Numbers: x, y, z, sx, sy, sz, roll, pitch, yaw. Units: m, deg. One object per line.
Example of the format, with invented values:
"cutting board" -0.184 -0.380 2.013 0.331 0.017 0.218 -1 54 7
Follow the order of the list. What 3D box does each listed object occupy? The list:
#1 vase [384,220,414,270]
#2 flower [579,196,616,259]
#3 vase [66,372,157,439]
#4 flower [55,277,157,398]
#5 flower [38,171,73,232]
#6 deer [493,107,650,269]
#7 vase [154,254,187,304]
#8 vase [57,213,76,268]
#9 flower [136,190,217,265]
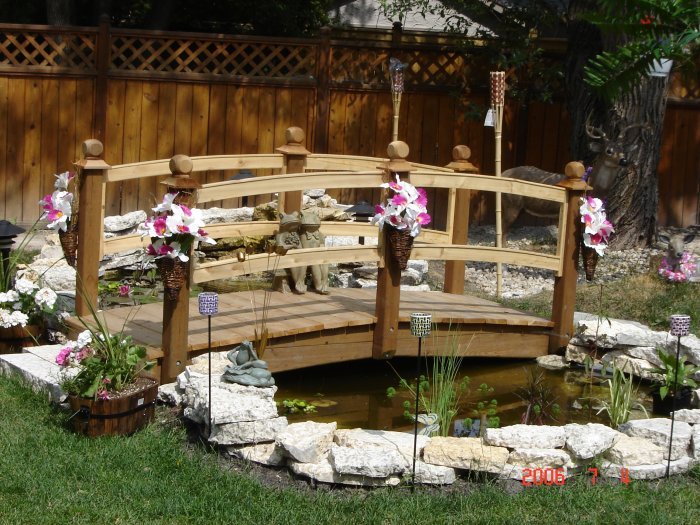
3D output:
"vase" 0.444 -0.122 6.901 0.266 0.382 0.313 -6 -8 5
"flower" 2.281 -0.341 7.456 0.297 0.541 0.250 4 6 17
"vase" -1.680 0.999 5.690 0.525 0.280 0.726 -3 8 -14
"flower" -1.648 0.662 5.565 0.401 0.595 0.541 -9 1 -11
"flower" -2.395 -0.503 6.557 0.235 0.486 0.395 0 7 -21
"deer" 3.237 -1.551 11.348 2.364 2.686 1.295 5 33 21
"vase" -1.292 0.126 5.938 0.264 0.357 0.273 0 5 9
"vase" -2.313 -0.181 6.556 0.136 0.437 0.260 0 6 -21
"flower" -1.269 -0.230 5.856 0.513 0.495 0.436 3 22 -9
